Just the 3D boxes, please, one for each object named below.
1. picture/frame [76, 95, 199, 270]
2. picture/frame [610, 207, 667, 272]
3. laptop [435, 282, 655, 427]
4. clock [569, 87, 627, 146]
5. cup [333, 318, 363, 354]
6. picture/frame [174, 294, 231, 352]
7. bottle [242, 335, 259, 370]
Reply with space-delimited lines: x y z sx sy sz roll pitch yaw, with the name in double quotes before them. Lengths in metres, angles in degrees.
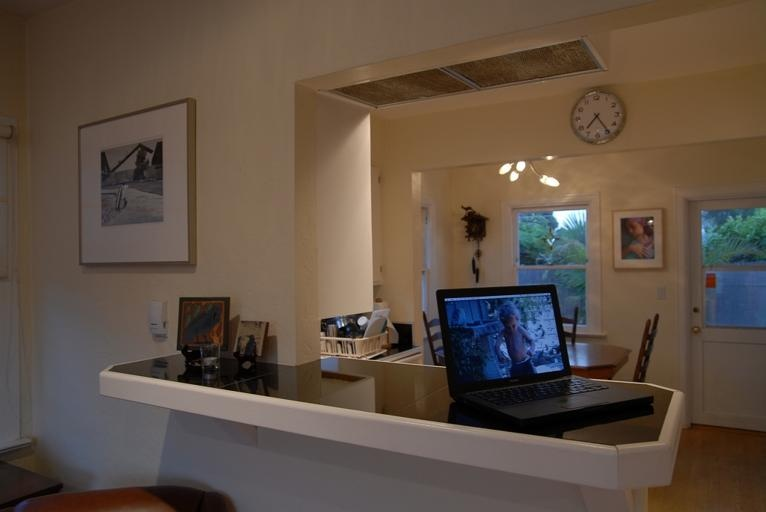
"picture/frame" -1.311 -0.397 2.916 0.962 1.149 0.083 1 -1 19
"picture/frame" 2.639 -0.171 5.453 0.611 0.857 0.033 -4 -6 38
"laptop" 0.594 0.342 2.006 0.676 0.425 0.411 -5 10 -13
"clock" 1.662 -1.079 4.146 0.388 0.454 0.039 0 -12 19
"cup" -0.219 0.518 3.568 0.178 0.222 0.093 5 12 38
"picture/frame" -0.879 0.330 2.644 0.278 0.244 0.019 -4 -14 19
"bottle" -0.626 0.450 2.505 0.070 0.134 0.129 -3 10 -5
